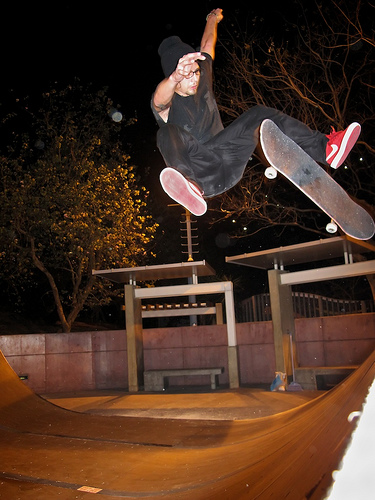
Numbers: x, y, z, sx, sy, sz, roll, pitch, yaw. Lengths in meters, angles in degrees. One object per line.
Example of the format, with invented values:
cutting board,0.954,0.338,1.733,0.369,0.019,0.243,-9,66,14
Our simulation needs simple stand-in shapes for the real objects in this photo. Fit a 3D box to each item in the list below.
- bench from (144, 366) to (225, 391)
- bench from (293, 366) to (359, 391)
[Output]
bench,-0.528,3.992,12.089,2.542,0.725,0.718,-4,-28,7
bench,3.218,3.112,10.039,1.217,0.614,0.664,-3,-5,5
